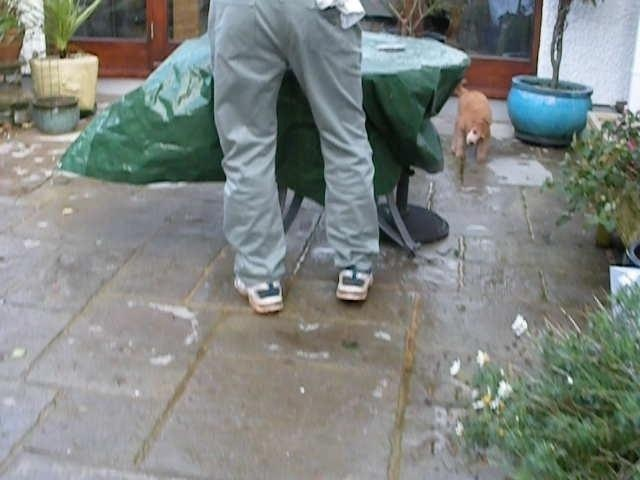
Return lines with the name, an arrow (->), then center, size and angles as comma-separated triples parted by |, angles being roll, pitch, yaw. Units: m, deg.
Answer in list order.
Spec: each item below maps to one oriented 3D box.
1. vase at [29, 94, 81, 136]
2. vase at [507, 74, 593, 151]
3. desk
vase -> -2.206, -1.040, 4.040 | 0.299, 0.235, 0.354 | 6, 27, 2
vase -> 1.999, -1.166, 4.234 | 0.629, 0.534, 0.754 | -3, 32, 3
desk -> -0.240, -0.523, 2.260 | 1.278, 0.408, 1.112 | 17, 38, 3
